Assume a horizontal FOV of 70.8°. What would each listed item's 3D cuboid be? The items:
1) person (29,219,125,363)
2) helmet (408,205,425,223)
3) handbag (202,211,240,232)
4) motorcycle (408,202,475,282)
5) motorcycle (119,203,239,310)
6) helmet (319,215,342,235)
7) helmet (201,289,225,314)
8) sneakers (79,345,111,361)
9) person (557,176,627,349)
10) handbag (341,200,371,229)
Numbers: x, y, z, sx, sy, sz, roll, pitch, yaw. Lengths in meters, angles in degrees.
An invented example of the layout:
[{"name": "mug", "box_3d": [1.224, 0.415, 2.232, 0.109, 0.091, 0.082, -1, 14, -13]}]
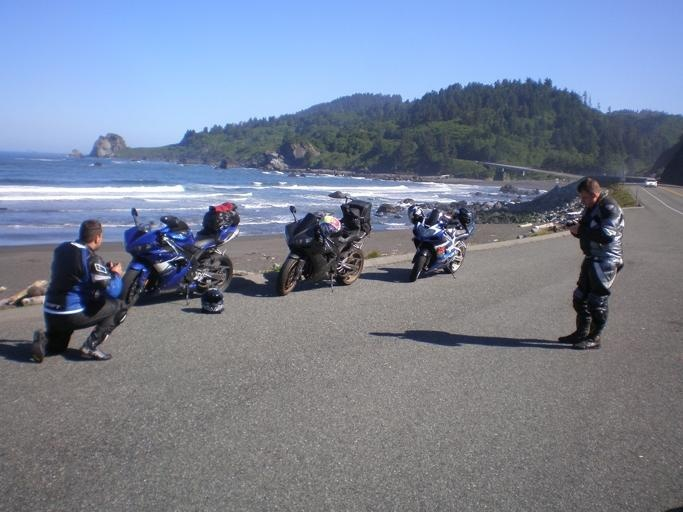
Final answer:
[{"name": "person", "box_3d": [-3.054, 0.406, 5.539, 0.967, 1.579, 0.485, -3, 13, -20]}, {"name": "helmet", "box_3d": [1.625, -0.880, 10.318, 0.336, 0.390, 0.426, 15, 13, 41]}, {"name": "handbag", "box_3d": [-2.115, -0.622, 8.541, 0.378, 0.220, 0.558, 2, 11, 37]}, {"name": "motorcycle", "box_3d": [2.015, -0.280, 10.214, 0.778, 1.433, 1.889, 12, 15, 39]}, {"name": "motorcycle", "box_3d": [-2.572, 0.013, 7.713, 0.544, 1.475, 2.309, 8, 13, 28]}, {"name": "helmet", "box_3d": [-0.184, -0.552, 8.413, 0.398, 0.279, 0.376, 3, 25, 2]}, {"name": "helmet", "box_3d": [-1.900, 0.677, 7.208, 0.309, 0.314, 0.385, 0, -13, -8]}, {"name": "sneakers", "box_3d": [-2.857, 1.110, 5.650, 0.402, 0.134, 0.268, 5, -34, -26]}, {"name": "person", "box_3d": [3.279, 0.119, 6.226, 0.628, 2.221, 0.536, 9, 14, 31]}, {"name": "handbag", "box_3d": [0.314, -0.754, 9.511, 0.510, 0.602, 0.663, 14, 3, 30]}]
